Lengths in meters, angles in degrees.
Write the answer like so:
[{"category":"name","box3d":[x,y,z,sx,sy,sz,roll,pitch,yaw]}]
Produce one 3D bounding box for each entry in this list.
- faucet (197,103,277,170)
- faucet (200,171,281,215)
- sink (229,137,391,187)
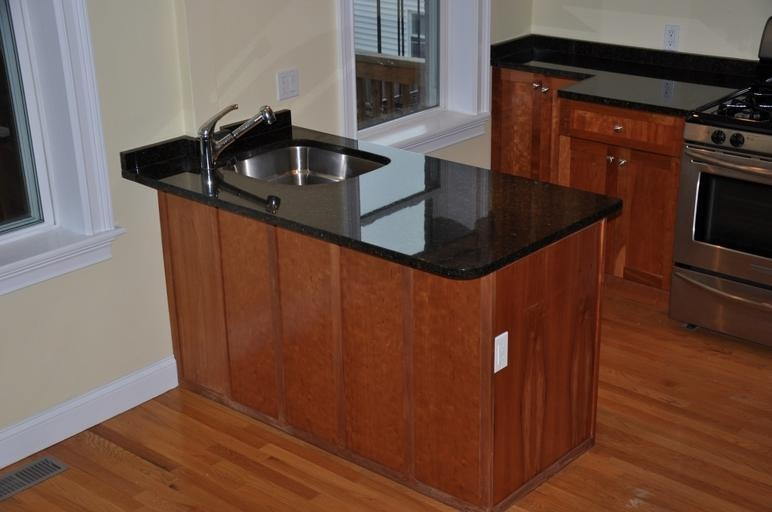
[{"category":"faucet","box3d":[-0.752,-0.619,3.336,0.441,0.274,0.093,-27,40,-35]},{"category":"faucet","box3d":[-0.669,-0.293,3.080,0.359,0.122,0.077,21,25,14]},{"category":"sink","box3d":[-0.491,-0.527,3.382,0.393,0.164,0.497,21,28,38]}]
